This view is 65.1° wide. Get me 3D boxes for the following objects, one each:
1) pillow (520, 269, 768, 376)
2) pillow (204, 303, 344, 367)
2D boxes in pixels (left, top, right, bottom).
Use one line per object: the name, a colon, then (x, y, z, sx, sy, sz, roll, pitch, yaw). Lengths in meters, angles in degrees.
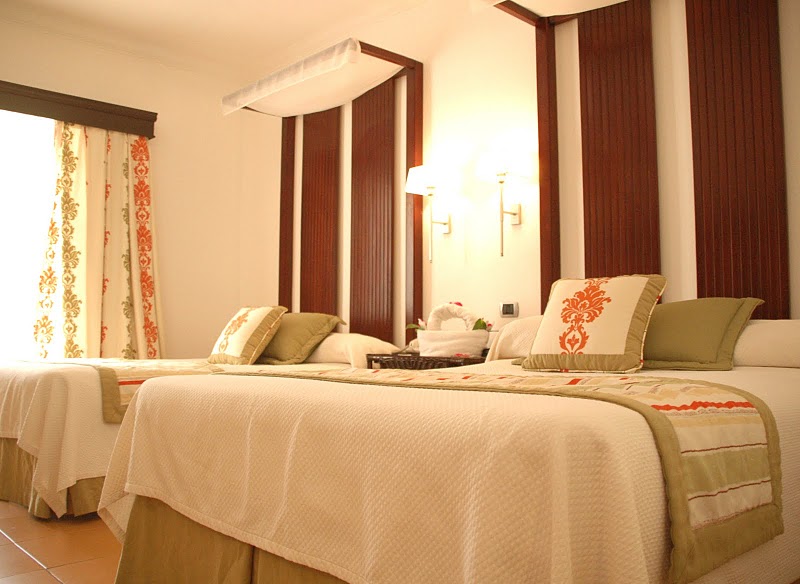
pillow: (1.112, 0.162, 2.855, 0.647, 0.234, 0.659, -2, 15, 38)
pillow: (-0.880, 0.305, 4.377, 0.826, 0.371, 0.457, -9, 3, -38)
